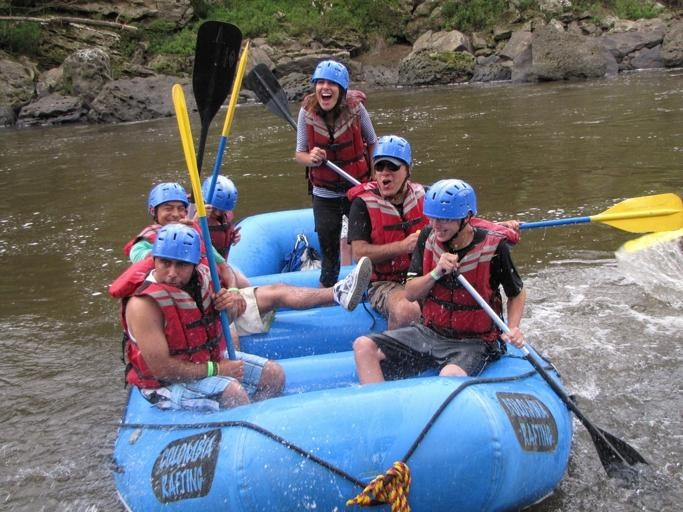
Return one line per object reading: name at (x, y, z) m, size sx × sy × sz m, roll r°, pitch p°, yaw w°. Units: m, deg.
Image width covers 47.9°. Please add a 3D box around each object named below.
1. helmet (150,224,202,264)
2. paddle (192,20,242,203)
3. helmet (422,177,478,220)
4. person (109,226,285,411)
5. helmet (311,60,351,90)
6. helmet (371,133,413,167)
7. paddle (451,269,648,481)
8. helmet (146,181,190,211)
helmet at (-1.111, -0.075, 5.237) m, size 0.220 × 0.262 × 0.318 m, roll 11°, pitch -12°, yaw -9°
paddle at (-1.181, -1.315, 7.108) m, size 0.391 × 1.742 × 0.174 m, roll -5°, pitch 46°, yaw -21°
helmet at (0.785, -0.415, 5.546) m, size 0.317 × 0.284 × 0.430 m, roll 10°, pitch 15°, yaw 38°
person at (-0.926, 0.595, 5.517) m, size 1.119 × 1.607 × 0.773 m, roll -3°, pitch 11°, yaw 11°
helmet at (-0.085, -1.587, 6.809) m, size 0.345 × 0.286 × 0.269 m, roll -10°, pitch 18°, yaw -15°
helmet at (0.416, -0.856, 6.203) m, size 0.190 × 0.231 × 0.284 m, roll 2°, pitch 15°, yaw 3°
paddle at (1.409, 0.848, 5.246) m, size 0.307 × 1.850 × 0.136 m, roll -22°, pitch 25°, yaw 53°
helmet at (-1.397, -0.487, 6.091) m, size 0.205 × 0.176 × 0.263 m, roll -11°, pitch 13°, yaw -28°
